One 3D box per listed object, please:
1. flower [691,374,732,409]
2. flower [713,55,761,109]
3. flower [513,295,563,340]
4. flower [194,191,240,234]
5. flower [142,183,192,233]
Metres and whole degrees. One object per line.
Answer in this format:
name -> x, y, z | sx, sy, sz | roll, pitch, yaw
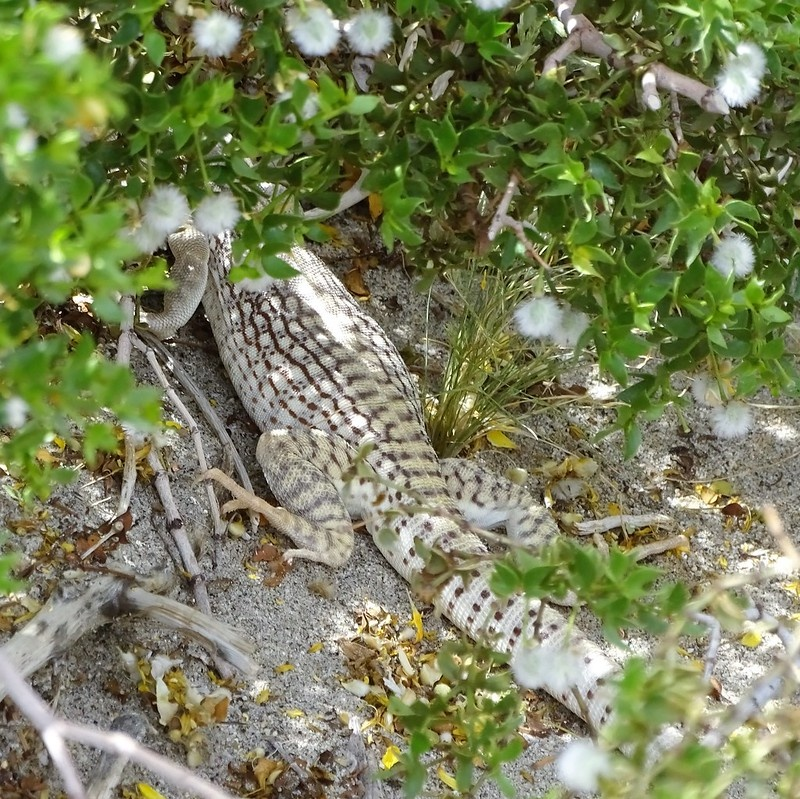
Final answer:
flower -> 0.981, -0.029, 2.868 | 0.123, 0.050, 0.123 | -18, 50, -27
flower -> 0.727, -0.683, 2.004 | 0.124, 0.039, 0.102 | 1, 83, -10
flower -> 0.305, -0.191, 2.013 | 0.131, 0.133, 0.046 | -13, 55, -5
flower -> -0.384, -0.403, 1.936 | 0.136, 0.044, 0.104 | -2, 75, 0
flower -> -0.495, -0.414, 1.938 | 0.088, 0.109, 0.102 | -12, 69, -11
